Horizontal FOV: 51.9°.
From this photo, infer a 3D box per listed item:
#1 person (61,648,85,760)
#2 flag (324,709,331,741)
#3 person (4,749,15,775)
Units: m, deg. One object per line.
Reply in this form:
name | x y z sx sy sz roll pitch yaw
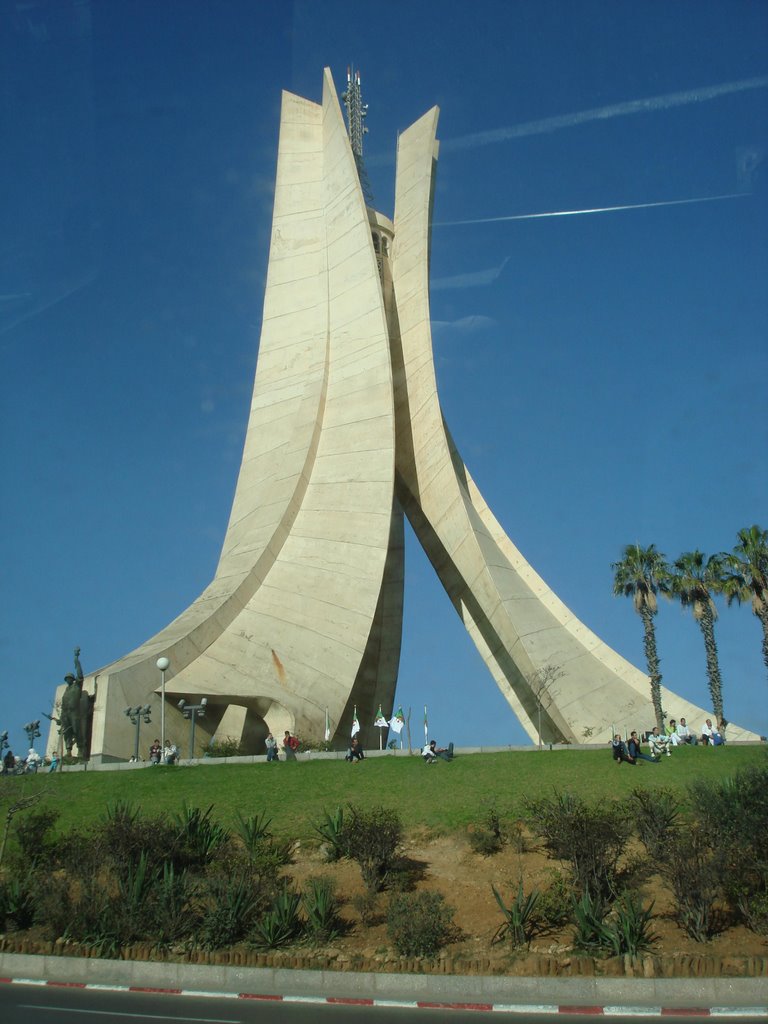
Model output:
person | -7.234 4.480 18.279 0.672 2.435 0.511 -10 -17 25
flag | -1.477 5.651 20.662 0.220 0.792 0.545 -1 -16 -5
person | -8.646 5.804 18.139 0.211 0.462 2.130 4 -18 -25
